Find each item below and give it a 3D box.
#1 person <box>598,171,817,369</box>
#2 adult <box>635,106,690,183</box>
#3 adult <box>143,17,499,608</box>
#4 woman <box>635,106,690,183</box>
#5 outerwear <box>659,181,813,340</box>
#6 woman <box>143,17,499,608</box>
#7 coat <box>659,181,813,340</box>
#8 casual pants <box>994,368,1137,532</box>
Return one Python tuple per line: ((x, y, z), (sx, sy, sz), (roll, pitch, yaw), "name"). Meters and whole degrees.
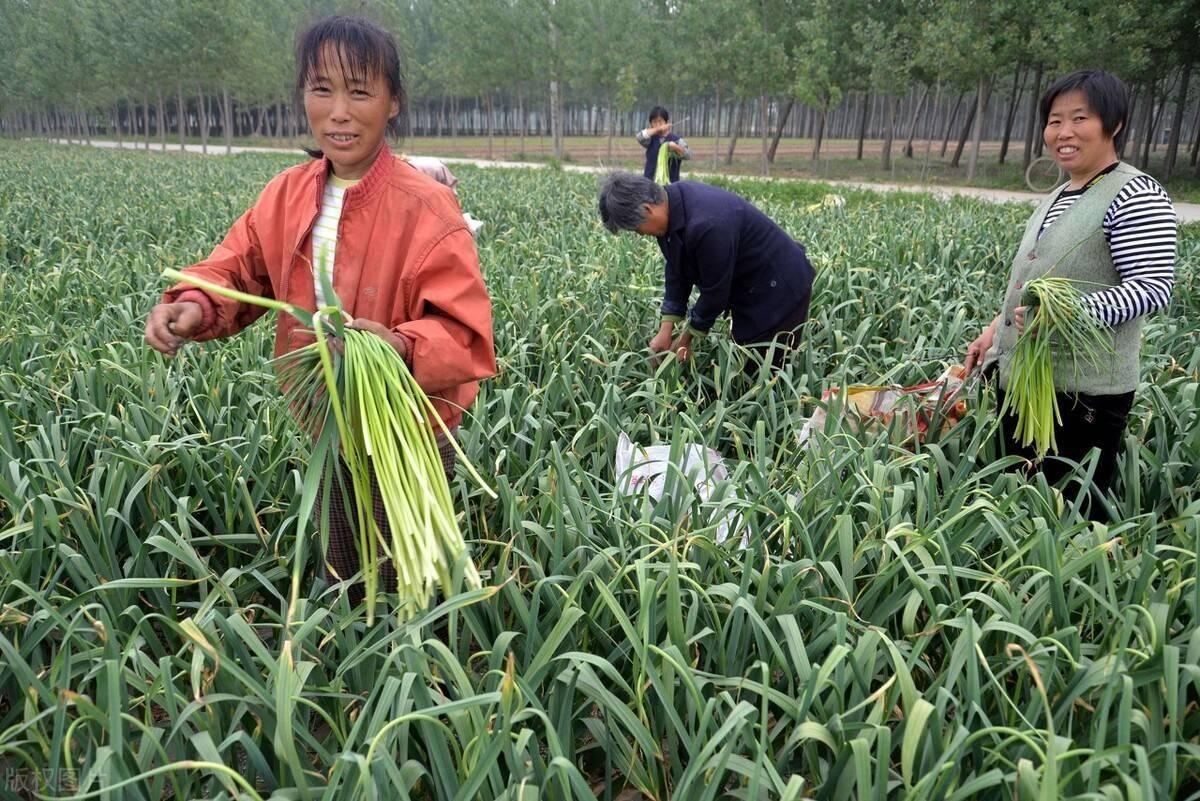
((0.646, -0.562, 4.825), (1.156, 1.554, 0.713), (-11, 21, -14), "person")
((0.791, -3.038, 10.589), (0.557, 1.449, 0.458), (7, 52, 5), "adult")
((-0.821, -0.221, 2.674), (1.008, 1.913, 0.593), (4, 14, 11), "adult")
((0.785, -3.031, 10.600), (0.557, 1.484, 0.449), (11, 53, 8), "woman")
((0.739, -0.731, 4.552), (0.961, 0.968, 0.728), (-1, 16, -15), "outerwear")
((-0.822, -0.221, 2.672), (1.009, 1.913, 0.588), (4, 14, 11), "woman")
((0.576, -0.845, 4.857), (0.961, 0.968, 0.728), (-1, 16, -15), "coat")
((1.870, 0.188, 3.316), (0.410, 0.897, 0.302), (-13, 39, 50), "casual pants")
